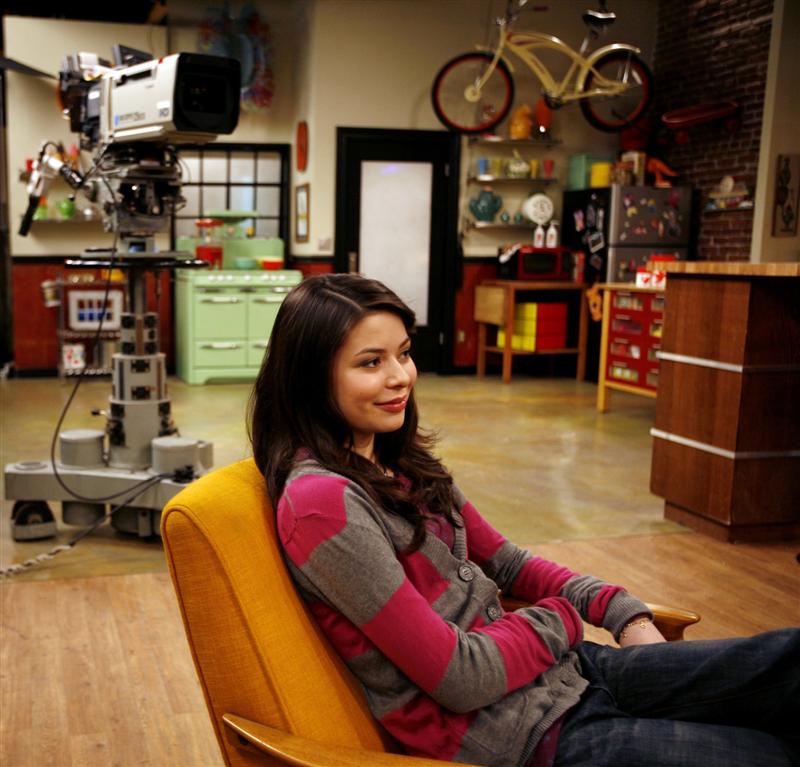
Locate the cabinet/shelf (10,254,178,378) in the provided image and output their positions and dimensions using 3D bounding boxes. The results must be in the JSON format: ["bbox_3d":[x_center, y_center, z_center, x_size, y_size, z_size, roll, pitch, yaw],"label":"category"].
[{"bbox_3d":[-2.710,-0.561,5.620,1.251,1.054,0.411,0,8,-5],"label":"cabinet/shelf"}]

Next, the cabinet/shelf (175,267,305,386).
[{"bbox_3d":[-1.660,-0.623,6.972,1.165,1.106,0.764,-3,14,-24],"label":"cabinet/shelf"}]

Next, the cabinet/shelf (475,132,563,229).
[{"bbox_3d":[1.261,-2.233,7.373,1.095,1.023,0.364,-1,6,-11],"label":"cabinet/shelf"}]

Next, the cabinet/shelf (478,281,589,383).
[{"bbox_3d":[1.448,-0.587,7.494,1.066,1.043,0.764,-4,9,-21],"label":"cabinet/shelf"}]
